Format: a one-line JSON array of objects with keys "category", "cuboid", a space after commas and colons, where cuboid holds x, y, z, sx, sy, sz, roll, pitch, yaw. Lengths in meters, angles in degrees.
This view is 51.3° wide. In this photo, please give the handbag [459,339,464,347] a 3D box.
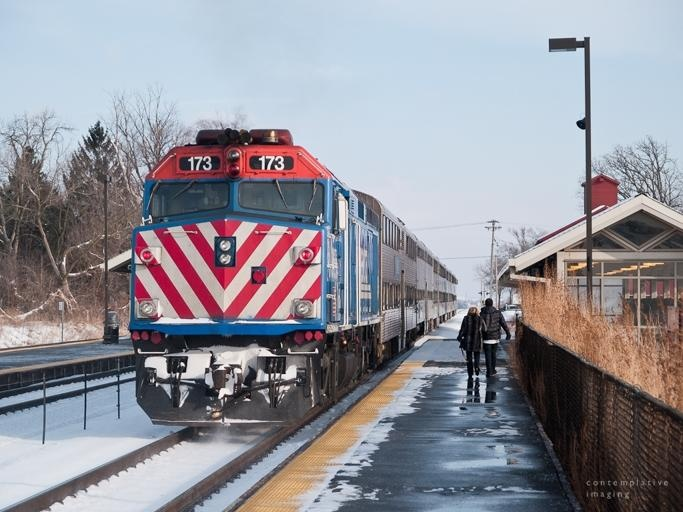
[{"category": "handbag", "cuboid": [3.151, 2.336, 18.797, 0.116, 0.185, 0.055, 3, 2, -14]}]

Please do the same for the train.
[{"category": "train", "cuboid": [-0.327, 0.511, 15.635, 2.978, 5.094, 10.393, -2, -2, 16]}]

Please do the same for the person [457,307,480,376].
[{"category": "person", "cuboid": [3.338, 2.277, 18.578, 0.619, 1.292, 0.838, -2, -2, 10]}]
